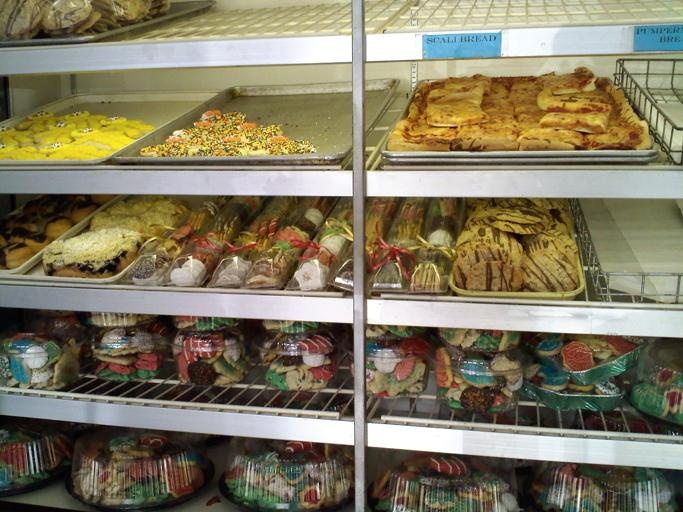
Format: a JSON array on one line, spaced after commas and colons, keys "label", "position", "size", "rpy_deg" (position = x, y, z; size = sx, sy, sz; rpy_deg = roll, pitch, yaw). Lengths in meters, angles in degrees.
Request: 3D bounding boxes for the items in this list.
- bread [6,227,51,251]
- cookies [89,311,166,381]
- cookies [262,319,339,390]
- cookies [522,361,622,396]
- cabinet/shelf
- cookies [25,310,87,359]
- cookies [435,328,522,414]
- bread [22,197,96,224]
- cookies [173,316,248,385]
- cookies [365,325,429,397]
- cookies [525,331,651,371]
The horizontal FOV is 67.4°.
[{"label": "bread", "position": [-1.033, -0.058, 1.697], "size": [0.118, 0.023, 0.070], "rpy_deg": [17, 44, 21]}, {"label": "cookies", "position": [-0.664, 0.300, 1.581], "size": [0.232, 0.075, 0.251], "rpy_deg": [1, 18, -6]}, {"label": "cookies", "position": [-0.110, 0.290, 1.642], "size": [0.268, 0.174, 0.228], "rpy_deg": [0, 9, 1]}, {"label": "cookies", "position": [0.624, 0.330, 1.417], "size": [0.141, 0.027, 0.138], "rpy_deg": [3, 3, 41]}, {"label": "cabinet/shelf", "position": [0.003, 0.059, 1.475], "size": [2.105, 1.031, 0.539], "rpy_deg": [3, 23, 11]}, {"label": "cookies", "position": [-0.954, 0.258, 1.733], "size": [0.211, 0.066, 0.142], "rpy_deg": [24, 48, 10]}, {"label": "cookies", "position": [0.377, 0.335, 1.515], "size": [0.291, 0.234, 0.268], "rpy_deg": [14, -20, -36]}, {"label": "bread", "position": [-0.978, -0.173, 1.811], "size": [0.160, 0.030, 0.147], "rpy_deg": [18, 36, 25]}, {"label": "cookies", "position": [-0.381, 0.286, 1.676], "size": [0.261, 0.184, 0.224], "rpy_deg": [0, 10, 1]}, {"label": "cookies", "position": [0.152, 0.294, 1.509], "size": [0.252, 0.188, 0.065], "rpy_deg": [2, 3, -3]}, {"label": "cookies", "position": [0.667, 0.253, 1.409], "size": [0.164, 0.030, 0.146], "rpy_deg": [-4, 9, -18]}]
